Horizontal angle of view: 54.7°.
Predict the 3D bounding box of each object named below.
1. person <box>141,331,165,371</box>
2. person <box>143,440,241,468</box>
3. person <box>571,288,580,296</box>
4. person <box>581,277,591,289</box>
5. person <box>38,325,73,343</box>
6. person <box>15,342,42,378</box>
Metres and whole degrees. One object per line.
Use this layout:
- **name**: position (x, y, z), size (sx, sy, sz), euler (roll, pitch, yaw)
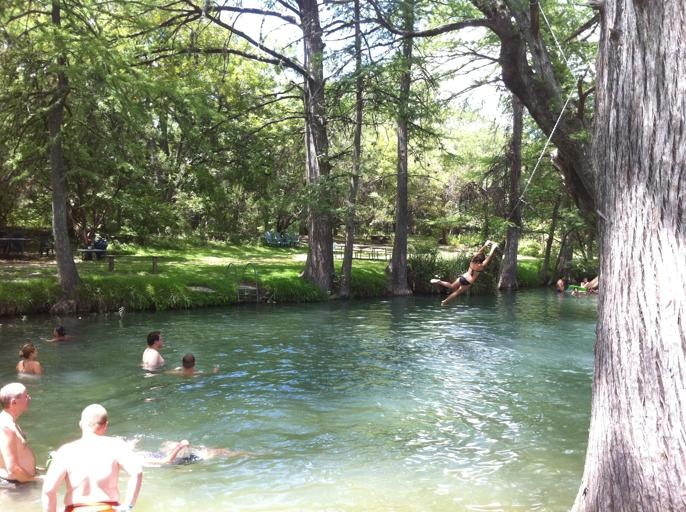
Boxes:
- **person**: position (-5.285, 2.667, 18.451), size (0.436, 0.892, 0.802), euler (-3, 8, -28)
- **person**: position (-3.064, 3.704, 12.968), size (1.750, 0.369, 0.873), euler (-1, 9, -20)
- **person**: position (14.528, 2.237, 41.604), size (0.301, 0.348, 0.824), euler (7, 8, 10)
- **person**: position (13.965, 1.524, 38.318), size (0.552, 0.806, 0.276), euler (10, 1, -3)
- **person**: position (-8.794, 2.436, 20.397), size (0.521, 0.420, 0.723), euler (3, -1, -43)
- **person**: position (-7.996, 2.636, 16.990), size (0.765, 0.793, 0.489), euler (0, 5, 24)
